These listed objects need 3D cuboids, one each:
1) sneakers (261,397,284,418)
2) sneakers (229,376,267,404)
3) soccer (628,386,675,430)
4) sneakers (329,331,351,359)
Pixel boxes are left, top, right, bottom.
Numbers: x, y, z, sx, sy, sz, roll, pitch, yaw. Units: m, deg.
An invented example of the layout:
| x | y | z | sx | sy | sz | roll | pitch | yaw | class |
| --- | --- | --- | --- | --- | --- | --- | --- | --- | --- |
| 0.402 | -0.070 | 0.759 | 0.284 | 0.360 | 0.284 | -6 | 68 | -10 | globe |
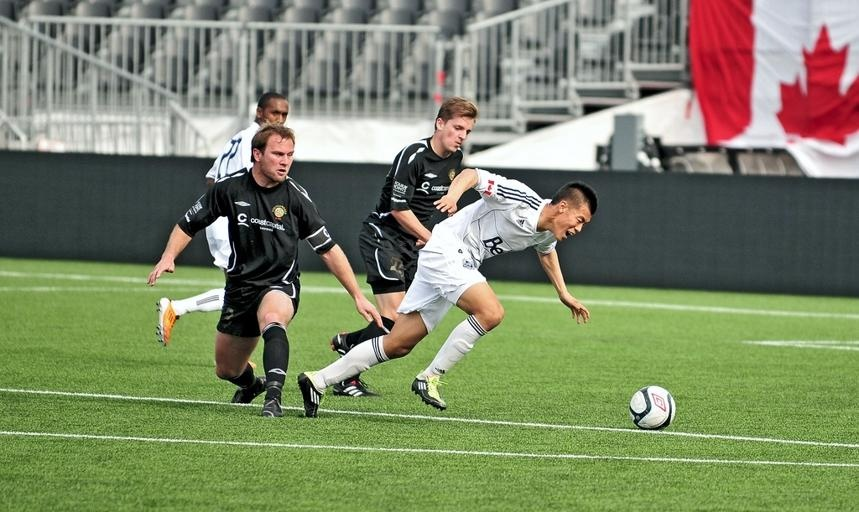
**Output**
| x | y | z | sx | sy | sz | roll | pitch | yaw | class |
| --- | --- | --- | --- | --- | --- | --- | --- | --- | --- |
| -1.837 | 1.776 | 15.194 | 0.241 | 0.227 | 0.539 | 2 | 1 | -6 | sneakers |
| -2.180 | 1.610 | 15.650 | 0.410 | 0.138 | 0.179 | -36 | -11 | -31 | sneakers |
| 2.679 | 1.815 | 15.506 | 0.502 | 0.501 | 0.503 | 29 | 6 | 0 | soccer |
| -1.130 | 1.177 | 16.787 | 0.148 | 0.187 | 0.437 | -22 | -17 | -11 | sneakers |
